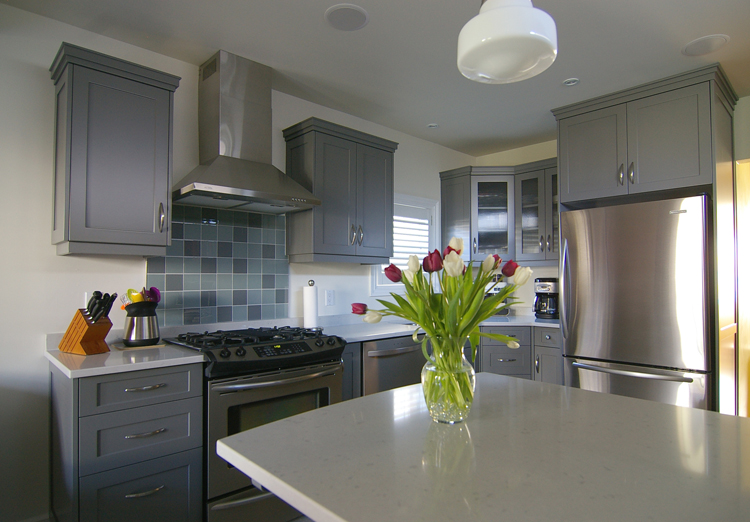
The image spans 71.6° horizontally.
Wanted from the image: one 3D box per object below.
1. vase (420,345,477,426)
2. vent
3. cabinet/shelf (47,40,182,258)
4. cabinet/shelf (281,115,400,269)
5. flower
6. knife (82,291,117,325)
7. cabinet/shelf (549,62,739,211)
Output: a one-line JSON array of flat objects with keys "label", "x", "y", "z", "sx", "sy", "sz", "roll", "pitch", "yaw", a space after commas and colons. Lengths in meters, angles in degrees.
[{"label": "vase", "x": 0.327, "y": 0.507, "z": 2.304, "sx": 0.302, "sy": 0.445, "sz": 0.275, "roll": 0, "pitch": 3, "yaw": 14}, {"label": "vent", "x": -0.997, "y": -0.807, "z": 3.976, "sx": 1.109, "sy": 1.291, "sz": 0.942, "roll": 3, "pitch": -6, "yaw": -40}, {"label": "cabinet/shelf", "x": -1.608, "y": -0.663, "z": 3.197, "sx": 0.817, "sy": 1.264, "sz": 0.413, "roll": -7, "pitch": 15, "yaw": -23}, {"label": "cabinet/shelf", "x": -0.311, "y": -0.536, "z": 4.108, "sx": 1.210, "sy": 1.349, "sz": 0.549, "roll": 4, "pitch": -7, "yaw": -41}, {"label": "flower", "x": 0.323, "y": 0.179, "z": 2.448, "sx": 0.800, "sy": 0.853, "sz": 0.851, "roll": -3, "pitch": -2, "yaw": 40}, {"label": "knife", "x": -1.682, "y": 0.276, "z": 3.140, "sx": 0.099, "sy": 0.177, "sz": 0.169, "roll": 31, "pitch": 31, "yaw": 14}, {"label": "cabinet/shelf", "x": 2.051, "y": -0.521, "z": 3.988, "sx": 1.420, "sy": 1.119, "sz": 0.818, "roll": -6, "pitch": -8, "yaw": 42}]
